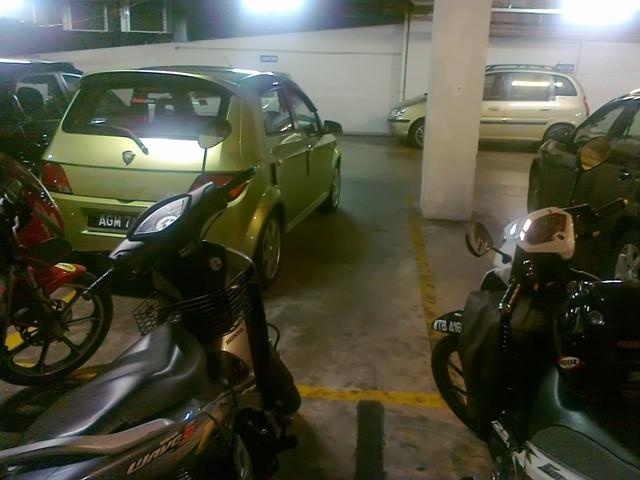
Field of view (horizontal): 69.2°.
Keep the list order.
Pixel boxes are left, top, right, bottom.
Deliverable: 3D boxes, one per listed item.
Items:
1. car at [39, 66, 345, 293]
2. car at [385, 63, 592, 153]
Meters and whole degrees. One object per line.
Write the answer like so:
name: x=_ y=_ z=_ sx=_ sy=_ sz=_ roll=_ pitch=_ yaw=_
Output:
car: x=-0.934 y=-1.028 z=4.607 sx=1.688 sy=1.384 sz=2.782 roll=8 pitch=23 yaw=19
car: x=4.318 y=-3.473 z=12.322 sx=4.516 sy=2.264 sz=2.805 roll=3 pitch=23 yaw=6
